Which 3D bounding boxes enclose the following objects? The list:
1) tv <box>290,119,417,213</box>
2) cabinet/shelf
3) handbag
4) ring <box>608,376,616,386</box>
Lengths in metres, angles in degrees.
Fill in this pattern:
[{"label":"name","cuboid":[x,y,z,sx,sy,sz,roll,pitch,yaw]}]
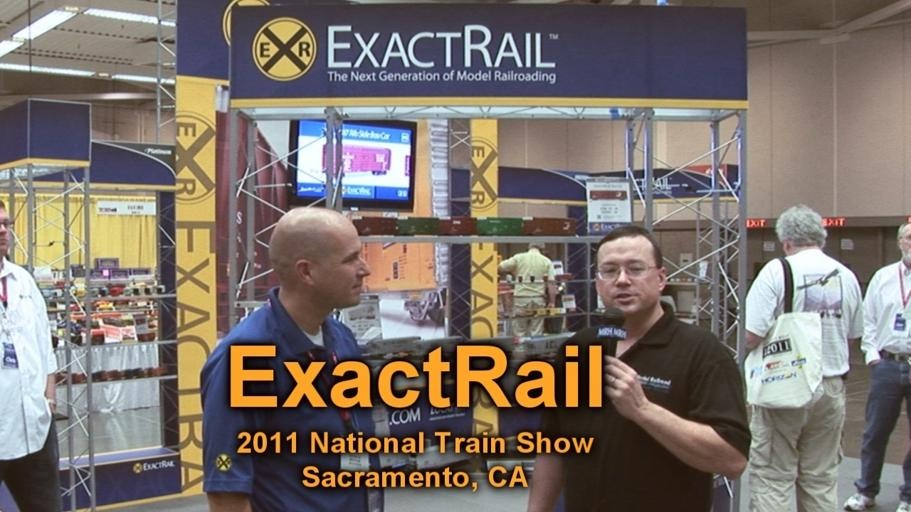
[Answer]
[{"label":"tv","cuboid":[-1.312,-1.147,9.813,1.644,0.994,0.061,0,2,-28]},{"label":"cabinet/shelf","cuboid":[-4.638,0.908,10.197,1.102,1.680,1.923,-5,-3,24]},{"label":"handbag","cuboid":[3.077,0.973,7.482,0.931,1.021,0.534,-4,-11,22]},{"label":"ring","cuboid":[1.144,0.923,5.905,0.023,0.062,0.067,-11,7,-10]}]
